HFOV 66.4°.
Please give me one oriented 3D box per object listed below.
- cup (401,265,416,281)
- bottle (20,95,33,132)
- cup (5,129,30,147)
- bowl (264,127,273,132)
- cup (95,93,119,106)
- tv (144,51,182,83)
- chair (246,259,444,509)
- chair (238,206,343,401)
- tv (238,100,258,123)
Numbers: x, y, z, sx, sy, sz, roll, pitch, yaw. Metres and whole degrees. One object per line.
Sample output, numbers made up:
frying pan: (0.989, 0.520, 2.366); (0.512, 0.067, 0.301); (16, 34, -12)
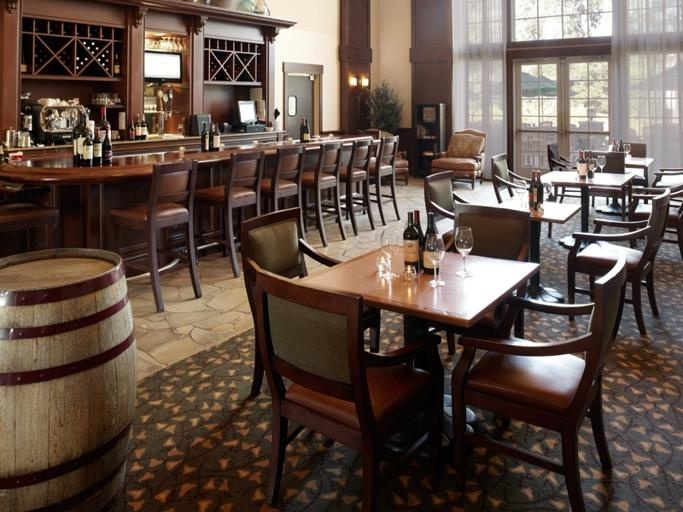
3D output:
cup: (0.360, 0.090, 2.746); (0.074, 0.082, 0.062); (-3, 7, -17)
bottle: (-3.884, -1.762, 6.359); (0.152, 0.446, 0.560); (-9, 18, -28)
cup: (-3.771, -1.364, 6.015); (0.202, 0.205, 0.311); (9, 20, 35)
bowl: (-1.280, -2.221, 9.059); (0.093, 0.063, 0.098); (0, 11, 0)
cup: (-3.164, -2.115, 6.989); (0.219, 0.143, 0.216); (2, 13, 0)
tv: (-2.620, -2.764, 7.550); (0.128, 0.418, 0.703); (7, 18, 31)
chair: (0.032, 0.616, 2.387); (0.699, 1.269, 0.815); (9, 20, 34)
chair: (-0.181, 0.373, 3.203); (0.682, 1.203, 0.706); (5, 12, 17)
tv: (-1.613, -2.458, 8.822); (0.121, 0.377, 0.360); (-1, 14, 33)
